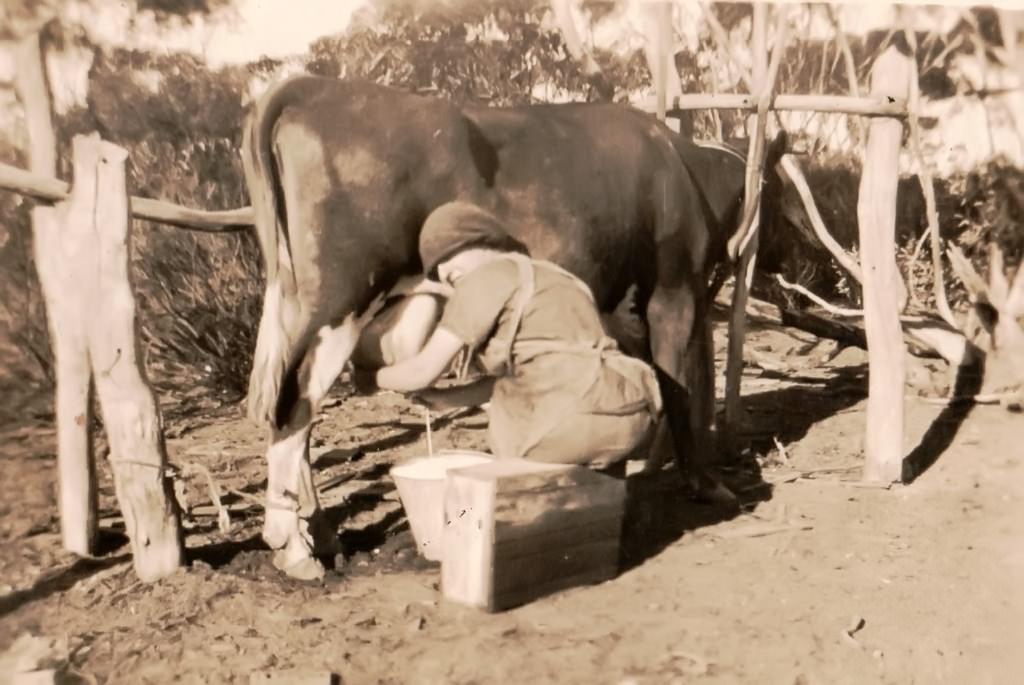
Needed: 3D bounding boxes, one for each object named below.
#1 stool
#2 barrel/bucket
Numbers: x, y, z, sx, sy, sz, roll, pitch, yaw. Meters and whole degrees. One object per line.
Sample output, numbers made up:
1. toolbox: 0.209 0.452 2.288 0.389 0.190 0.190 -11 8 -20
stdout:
1. stool: 0.272 1.172 6.516 0.926 0.565 0.655 1 29 -11
2. barrel/bucket: -0.437 0.971 6.706 0.569 0.600 0.630 -1 -2 -1
